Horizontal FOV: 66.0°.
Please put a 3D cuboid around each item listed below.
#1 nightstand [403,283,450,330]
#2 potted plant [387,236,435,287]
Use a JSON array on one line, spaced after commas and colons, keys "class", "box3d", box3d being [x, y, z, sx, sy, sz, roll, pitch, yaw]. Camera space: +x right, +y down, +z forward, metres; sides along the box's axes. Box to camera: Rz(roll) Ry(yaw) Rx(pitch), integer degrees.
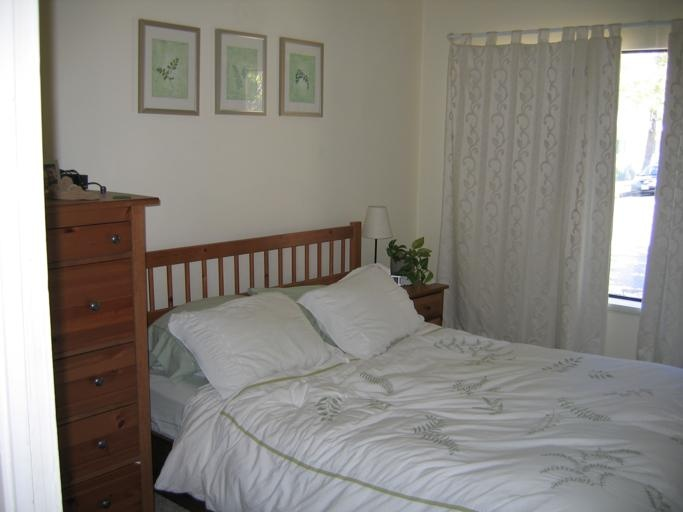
[{"class": "nightstand", "box3d": [0.620, 0.323, 3.740, 0.251, 0.386, 0.380, 9, 18, 42]}, {"class": "potted plant", "box3d": [0.548, 0.022, 3.895, 0.327, 0.379, 0.352, -11, 14, -39]}]
